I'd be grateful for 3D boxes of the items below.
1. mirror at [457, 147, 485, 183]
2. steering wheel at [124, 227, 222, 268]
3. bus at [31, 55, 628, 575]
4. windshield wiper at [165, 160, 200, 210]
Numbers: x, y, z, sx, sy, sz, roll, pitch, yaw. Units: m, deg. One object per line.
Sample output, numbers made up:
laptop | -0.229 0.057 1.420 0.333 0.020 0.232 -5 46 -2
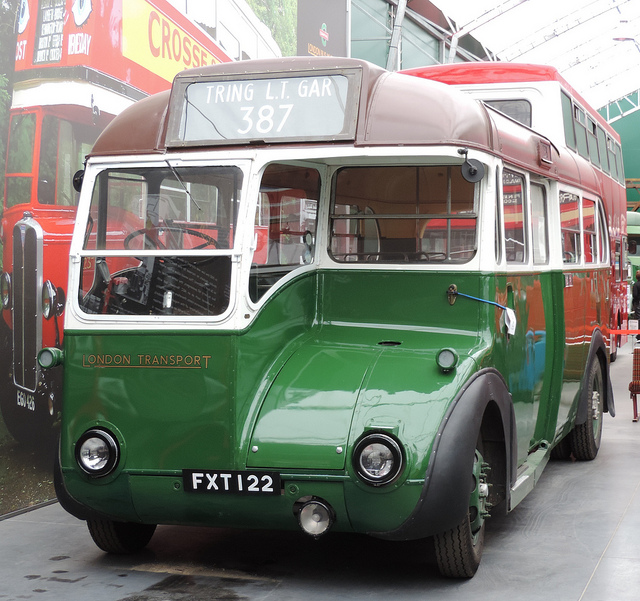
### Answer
mirror | 0.826 -0.740 2.971 0.133 0.217 0.083 7 32 43
steering wheel | -0.826 -0.345 3.281 0.477 0.137 0.570 4 -12 12
bus | 0.523 0.289 5.322 2.835 3.013 5.868 -1 -5 25
windshield wiper | -0.777 -0.657 3.136 0.023 0.331 0.016 -32 -1 -37
